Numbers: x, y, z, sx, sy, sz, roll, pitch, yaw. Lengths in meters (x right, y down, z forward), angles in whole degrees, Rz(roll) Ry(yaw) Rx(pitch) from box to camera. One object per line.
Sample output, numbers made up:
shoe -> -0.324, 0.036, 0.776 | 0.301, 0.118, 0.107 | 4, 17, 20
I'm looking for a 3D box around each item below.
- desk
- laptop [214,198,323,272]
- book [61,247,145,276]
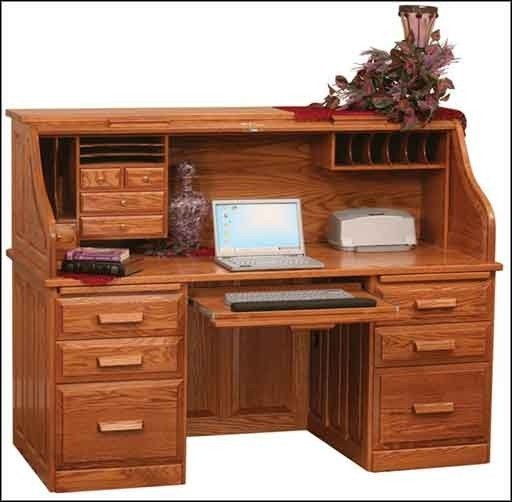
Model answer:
desk -> -0.048, 0.148, 3.030 | 2.175, 1.396, 1.118 | -2, 6, -18
laptop -> 0.016, -0.111, 3.137 | 0.575, 0.313, 0.400 | -2, 8, -17
book -> -0.714, 0.048, 2.780 | 0.339, 0.117, 0.199 | -2, 7, 4
